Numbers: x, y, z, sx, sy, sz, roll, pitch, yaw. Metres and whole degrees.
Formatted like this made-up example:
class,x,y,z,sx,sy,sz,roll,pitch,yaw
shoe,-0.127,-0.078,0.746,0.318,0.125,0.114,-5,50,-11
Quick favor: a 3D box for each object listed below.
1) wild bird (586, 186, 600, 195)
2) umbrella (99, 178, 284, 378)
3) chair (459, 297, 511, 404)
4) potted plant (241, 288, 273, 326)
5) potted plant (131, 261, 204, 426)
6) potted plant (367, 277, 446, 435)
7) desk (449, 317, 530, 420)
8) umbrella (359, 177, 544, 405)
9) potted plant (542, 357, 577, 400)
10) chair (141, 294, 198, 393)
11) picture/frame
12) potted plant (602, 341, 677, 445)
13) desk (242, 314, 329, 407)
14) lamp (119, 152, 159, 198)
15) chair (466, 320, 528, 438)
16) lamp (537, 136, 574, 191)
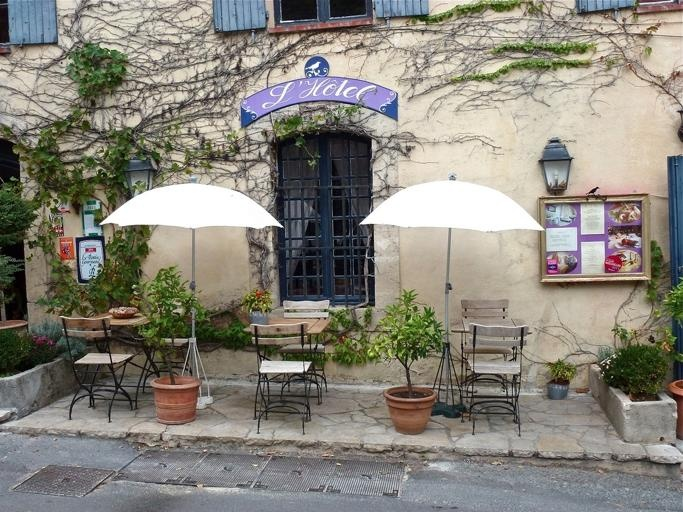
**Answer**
class,x,y,z,sx,sy,sz,roll,pitch,yaw
wild bird,3.214,-0.828,10.022,0.157,0.117,0.107,-1,3,5
umbrella,-1.834,0.059,8.837,1.638,1.787,1.640,17,-40,-37
chair,1.789,0.975,10.099,0.814,1.124,0.817,0,-3,7
potted plant,-1.031,0.637,9.931,0.435,0.463,0.436,-3,-4,41
potted plant,-2.101,0.998,9.521,0.746,1.943,0.831,-13,12,-37
potted plant,0.756,1.180,9.166,0.972,1.568,0.926,-3,0,18
desk,1.858,1.293,9.684,0.734,1.036,1.494,1,3,5
umbrella,1.218,0.453,9.273,1.836,2.022,1.651,4,24,0
potted plant,2.803,1.573,10.032,0.364,0.465,0.326,-1,3,14
chair,-2.261,1.072,9.506,0.471,0.858,0.535,-22,3,-23
picture/frame,3.286,-0.229,10.023,1.111,0.959,0.090,0,-2,5
potted plant,3.403,1.538,8.896,0.707,0.965,0.676,-2,3,3
desk,-0.697,1.359,9.884,0.768,1.194,1.779,-2,4,-2
lamp,-2.761,-1.099,10.748,0.494,0.718,0.527,-1,0,4
chair,1.847,1.395,9.720,0.644,1.267,1.533,1,3,4
lamp,2.726,-1.143,10.055,0.371,0.729,0.222,-1,4,14
